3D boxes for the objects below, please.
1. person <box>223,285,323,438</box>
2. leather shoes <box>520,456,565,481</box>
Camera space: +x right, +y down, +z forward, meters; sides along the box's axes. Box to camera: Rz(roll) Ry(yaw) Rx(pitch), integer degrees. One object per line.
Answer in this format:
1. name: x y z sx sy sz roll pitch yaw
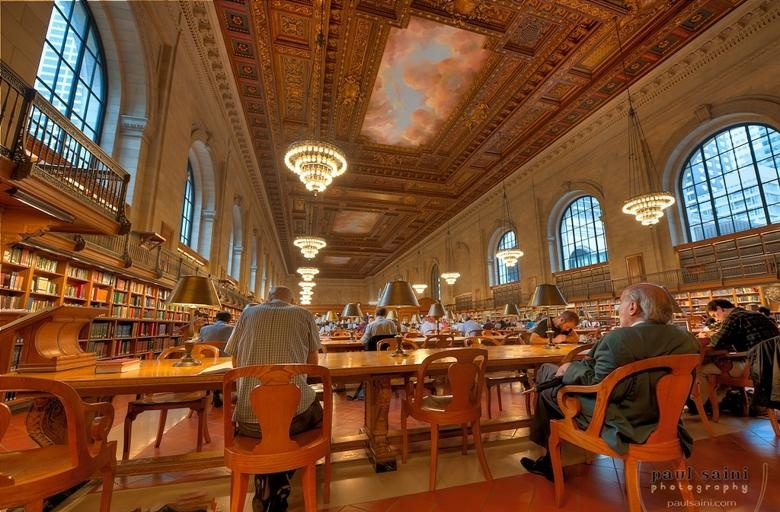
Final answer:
1. person: -1.162 1.009 4.215 0.967 1.431 0.842 3 -15 -18
2. leather shoes: 1.569 2.151 4.265 0.137 0.226 0.325 24 -9 -42
